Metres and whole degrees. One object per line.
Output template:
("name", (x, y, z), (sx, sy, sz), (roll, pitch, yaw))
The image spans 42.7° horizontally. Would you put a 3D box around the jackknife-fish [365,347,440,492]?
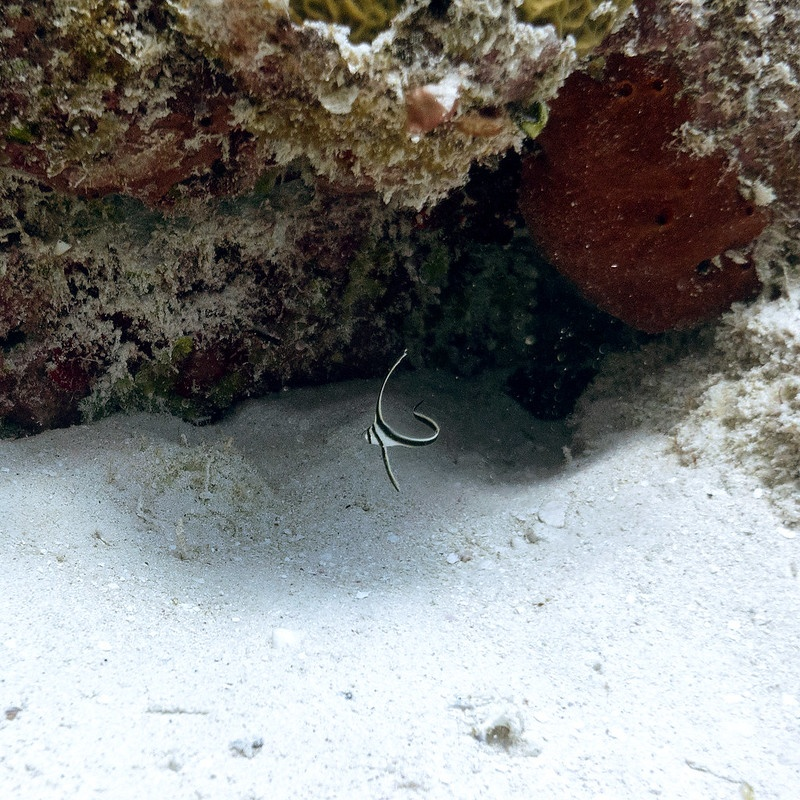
("jackknife-fish", (0.014, 0.150, 4.267), (0.298, 0.116, 0.844), (8, 35, -6))
